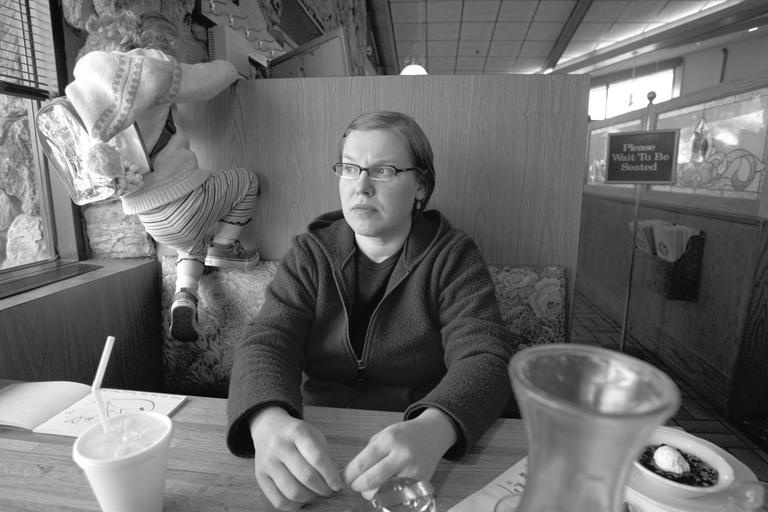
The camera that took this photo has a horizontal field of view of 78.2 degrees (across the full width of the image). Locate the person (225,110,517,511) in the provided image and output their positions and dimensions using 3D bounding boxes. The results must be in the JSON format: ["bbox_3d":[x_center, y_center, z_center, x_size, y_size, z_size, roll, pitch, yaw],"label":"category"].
[{"bbox_3d":[-0.025,0.082,1.439,0.786,1.071,0.989,0,-2,8],"label":"person"}]

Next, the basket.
[{"bbox_3d":[1.768,0.029,2.898,0.169,0.411,0.432,-5,13,0],"label":"basket"}]

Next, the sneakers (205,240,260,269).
[{"bbox_3d":[-0.593,-0.017,1.865,0.201,0.100,0.091,-5,18,-34],"label":"sneakers"}]

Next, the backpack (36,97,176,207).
[{"bbox_3d":[-0.949,-0.337,1.687,0.306,0.402,0.143,-25,3,28],"label":"backpack"}]

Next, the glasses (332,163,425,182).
[{"bbox_3d":[-0.018,-0.254,1.439,0.218,0.050,0.063,2,14,5],"label":"glasses"}]
